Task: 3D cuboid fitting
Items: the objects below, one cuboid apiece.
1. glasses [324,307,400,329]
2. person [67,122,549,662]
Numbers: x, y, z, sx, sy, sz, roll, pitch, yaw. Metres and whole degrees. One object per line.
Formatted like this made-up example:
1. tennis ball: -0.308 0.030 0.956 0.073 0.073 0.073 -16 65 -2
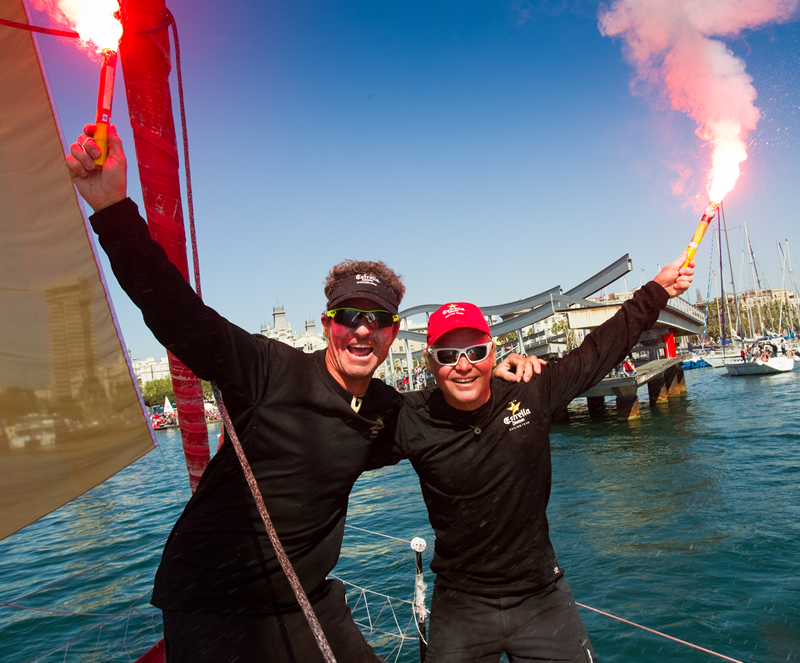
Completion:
1. glasses: -0.213 -0.076 2.356 0.211 0.059 0.191 4 -18 -13
2. person: -0.629 0.630 2.093 1.639 2.666 0.832 0 -7 -38
